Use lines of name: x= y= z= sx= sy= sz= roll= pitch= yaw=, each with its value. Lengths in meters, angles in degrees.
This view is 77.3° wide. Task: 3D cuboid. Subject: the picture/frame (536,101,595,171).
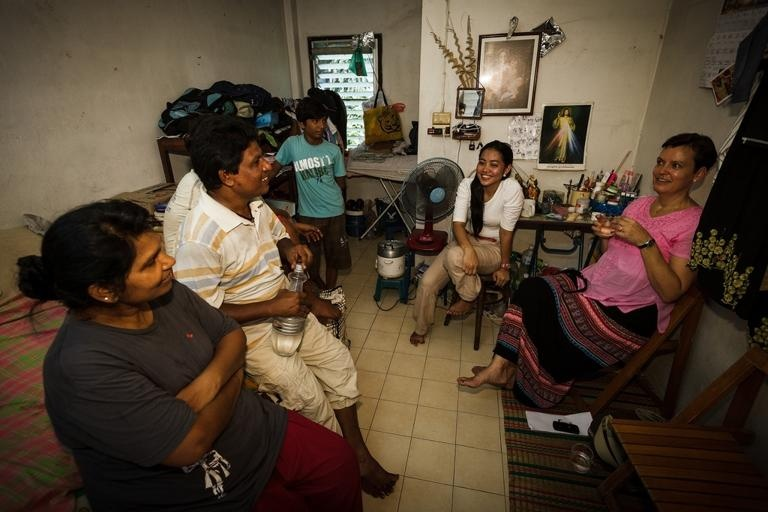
picture/frame: x=1.806 y=-1.221 z=4.711 sx=0.633 sy=0.806 sz=0.037 roll=3 pitch=17 yaw=4

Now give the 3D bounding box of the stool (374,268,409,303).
stool: x=0.109 y=0.298 z=4.928 sx=0.336 sy=0.249 sz=0.343 roll=5 pitch=27 yaw=10

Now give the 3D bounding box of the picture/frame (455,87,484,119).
picture/frame: x=0.859 y=-1.538 z=4.747 sx=0.302 sy=0.317 sz=0.033 roll=3 pitch=26 yaw=6

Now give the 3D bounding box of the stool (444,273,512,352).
stool: x=0.988 y=0.441 z=4.487 sx=0.644 sy=0.848 sz=0.663 roll=4 pitch=18 yaw=17

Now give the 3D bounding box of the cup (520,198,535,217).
cup: x=1.312 y=-0.439 z=4.346 sx=0.105 sy=0.173 sz=0.183 roll=1 pitch=22 yaw=5

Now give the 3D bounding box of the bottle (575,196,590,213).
bottle: x=1.782 y=-0.472 z=4.333 sx=0.131 sy=0.140 sz=0.132 roll=3 pitch=16 yaw=-2

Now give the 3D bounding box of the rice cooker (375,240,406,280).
rice cooker: x=0.078 y=0.008 z=4.786 sx=0.292 sy=0.335 sz=0.316 roll=4 pitch=22 yaw=13

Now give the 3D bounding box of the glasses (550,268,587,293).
glasses: x=1.459 y=0.189 z=3.729 sx=0.203 sy=0.088 sz=0.167 roll=16 pitch=34 yaw=35

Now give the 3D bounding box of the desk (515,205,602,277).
desk: x=1.637 y=-0.224 z=4.587 sx=0.976 sy=0.647 sz=0.552 roll=2 pitch=33 yaw=13

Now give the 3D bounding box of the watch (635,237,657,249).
watch: x=1.766 y=-0.084 z=3.210 sx=0.076 sy=0.029 sz=0.077 roll=-27 pitch=-2 yaw=1
